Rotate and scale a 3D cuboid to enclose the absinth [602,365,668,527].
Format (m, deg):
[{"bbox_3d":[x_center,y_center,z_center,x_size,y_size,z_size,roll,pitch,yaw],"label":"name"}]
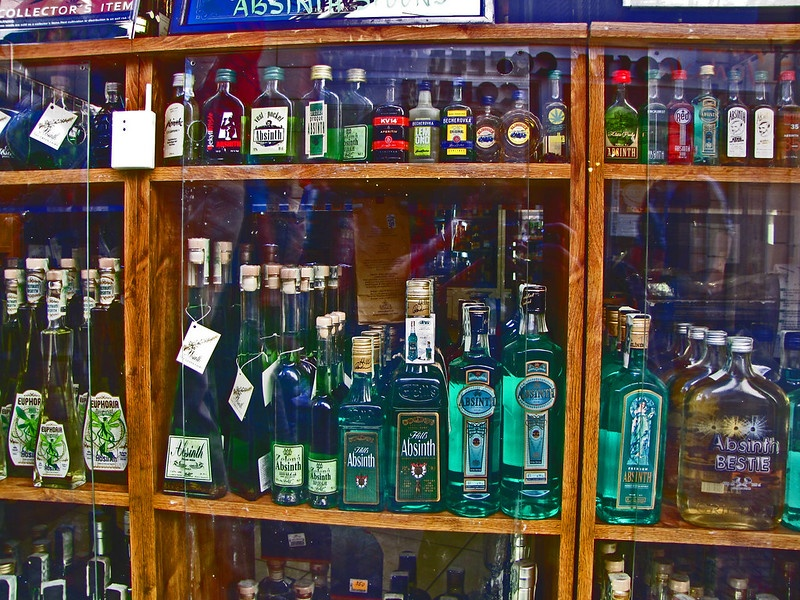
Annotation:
[{"bbox_3d":[0.588,0.372,2.233,0.177,0.385,0.086,-2,8,8],"label":"absinth"}]

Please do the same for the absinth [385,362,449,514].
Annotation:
[{"bbox_3d":[0.039,0.357,2.269,0.155,0.371,0.083,-3,8,-1],"label":"absinth"}]

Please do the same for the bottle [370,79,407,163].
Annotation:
[{"bbox_3d":[-0.030,-0.463,2.306,0.098,0.244,0.080,-1,-10,2],"label":"bottle"}]

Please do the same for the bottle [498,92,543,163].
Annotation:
[{"bbox_3d":[0.314,-0.443,2.310,0.118,0.220,0.110,2,-19,1],"label":"bottle"}]

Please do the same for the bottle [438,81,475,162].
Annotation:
[{"bbox_3d":[0.148,-0.457,2.291,0.090,0.234,0.082,2,-9,-9],"label":"bottle"}]

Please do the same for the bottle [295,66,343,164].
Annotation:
[{"bbox_3d":[-0.207,-0.478,2.273,0.107,0.246,0.042,-4,8,-8],"label":"bottle"}]

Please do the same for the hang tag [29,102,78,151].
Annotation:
[{"bbox_3d":[-0.909,-0.456,2.318,0.090,0.109,0.005,24,8,4],"label":"hang tag"}]

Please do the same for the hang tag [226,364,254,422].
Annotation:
[{"bbox_3d":[-0.428,0.258,2.359,0.098,0.129,0.009,34,16,26],"label":"hang tag"}]

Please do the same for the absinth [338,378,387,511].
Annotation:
[{"bbox_3d":[-0.103,0.372,2.274,0.124,0.346,0.074,-3,8,-6],"label":"absinth"}]

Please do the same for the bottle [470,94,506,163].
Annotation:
[{"bbox_3d":[0.223,-0.449,2.270,0.078,0.194,0.065,1,46,7],"label":"bottle"}]

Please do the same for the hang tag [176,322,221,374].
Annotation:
[{"bbox_3d":[-0.543,0.127,2.347,0.088,0.118,0.010,30,-1,-8],"label":"hang tag"}]

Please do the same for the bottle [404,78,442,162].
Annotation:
[{"bbox_3d":[0.063,-0.448,2.293,0.086,0.233,0.074,0,-8,4],"label":"bottle"}]
